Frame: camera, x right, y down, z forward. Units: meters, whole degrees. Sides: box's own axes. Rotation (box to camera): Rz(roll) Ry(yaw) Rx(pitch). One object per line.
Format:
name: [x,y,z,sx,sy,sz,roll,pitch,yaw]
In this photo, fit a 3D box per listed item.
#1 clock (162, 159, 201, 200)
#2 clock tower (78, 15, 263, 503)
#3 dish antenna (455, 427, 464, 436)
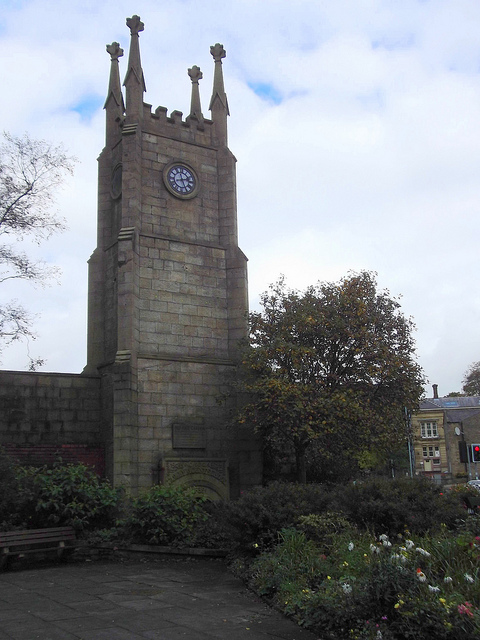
clock: [-1.985,-4.731,22.293,1.380,1.275,0.110,12,34,26]
clock tower: [-2.544,-1.833,23.032,6.849,16.914,6.659,-7,-12,25]
dish antenna: [21.377,11.017,65.051,0.545,0.793,0.186,-5,-12,24]
